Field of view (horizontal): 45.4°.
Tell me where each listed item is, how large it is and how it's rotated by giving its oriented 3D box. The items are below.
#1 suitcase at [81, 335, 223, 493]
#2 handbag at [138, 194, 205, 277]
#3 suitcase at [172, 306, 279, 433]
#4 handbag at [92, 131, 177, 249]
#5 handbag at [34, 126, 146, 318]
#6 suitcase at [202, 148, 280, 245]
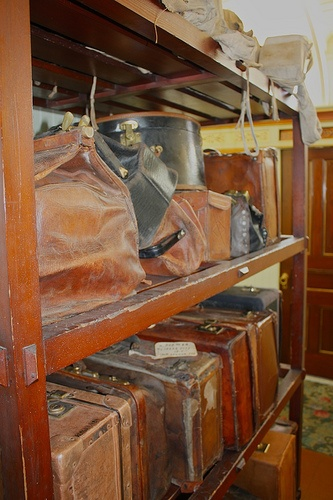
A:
[{"bbox_3d":[-0.013,0.325,1.218,0.326,0.411,0.547,0,0,25],"label":"suitcase"},{"bbox_3d":[0.031,-0.016,0.898,0.066,0.163,0.181,-14,-12,-37],"label":"handbag"},{"bbox_3d":[0.211,0.422,1.607,0.433,0.393,0.335,9,19,43],"label":"suitcase"},{"bbox_3d":[-0.045,-0.100,0.754,0.224,0.194,0.153,2,5,0],"label":"handbag"},{"bbox_3d":[-0.118,-0.035,0.602,0.176,0.231,0.324,-2,9,1],"label":"handbag"},{"bbox_3d":[0.266,-0.227,1.713,0.411,0.368,0.155,4,11,35],"label":"suitcase"}]
